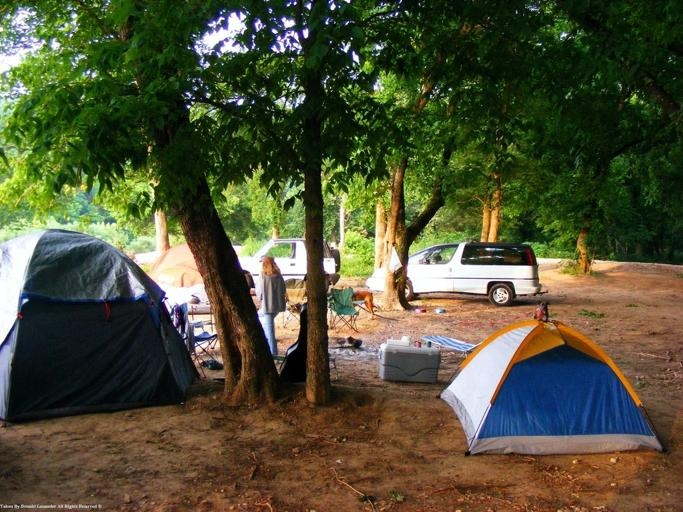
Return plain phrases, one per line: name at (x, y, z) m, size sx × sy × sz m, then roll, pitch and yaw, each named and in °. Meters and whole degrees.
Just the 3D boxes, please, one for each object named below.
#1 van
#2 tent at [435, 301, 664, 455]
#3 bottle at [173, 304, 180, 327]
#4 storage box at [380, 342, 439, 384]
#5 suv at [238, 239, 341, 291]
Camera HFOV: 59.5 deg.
van at (3.658, 0.448, 19.598) m, size 4.778 × 1.872 × 2.244 m, roll 3°, pitch 0°, yaw 10°
tent at (2.830, 1.661, 8.902) m, size 1.828 × 1.133 × 2.116 m, roll -1°, pitch -1°, yaw -1°
bottle at (-3.093, 1.112, 11.218) m, size 0.096 × 0.376 × 0.270 m, roll 6°, pitch -11°, yaw -28°
storage box at (1.254, 1.728, 10.815) m, size 0.942 × 0.630 × 0.648 m, roll 1°, pitch 6°, yaw 5°
suv at (-1.760, 0.292, 21.125) m, size 3.017 × 1.429 × 1.688 m, roll 2°, pitch 0°, yaw 1°
